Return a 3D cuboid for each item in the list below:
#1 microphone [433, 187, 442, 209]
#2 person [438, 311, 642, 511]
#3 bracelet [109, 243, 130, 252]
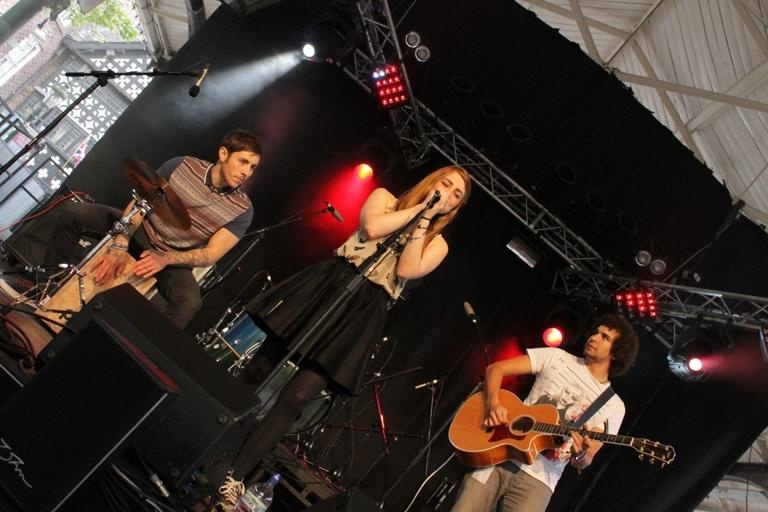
[{"bbox_3d":[0.498,-0.547,5.401,0.059,0.074,0.188,13,-30,4],"label":"microphone"},{"bbox_3d":[1.882,1.878,6.344,1.435,2.815,0.732,35,-24,30],"label":"person"},{"bbox_3d":[-2.915,-0.102,6.134,0.164,0.096,0.100,35,-19,-26],"label":"bracelet"}]
